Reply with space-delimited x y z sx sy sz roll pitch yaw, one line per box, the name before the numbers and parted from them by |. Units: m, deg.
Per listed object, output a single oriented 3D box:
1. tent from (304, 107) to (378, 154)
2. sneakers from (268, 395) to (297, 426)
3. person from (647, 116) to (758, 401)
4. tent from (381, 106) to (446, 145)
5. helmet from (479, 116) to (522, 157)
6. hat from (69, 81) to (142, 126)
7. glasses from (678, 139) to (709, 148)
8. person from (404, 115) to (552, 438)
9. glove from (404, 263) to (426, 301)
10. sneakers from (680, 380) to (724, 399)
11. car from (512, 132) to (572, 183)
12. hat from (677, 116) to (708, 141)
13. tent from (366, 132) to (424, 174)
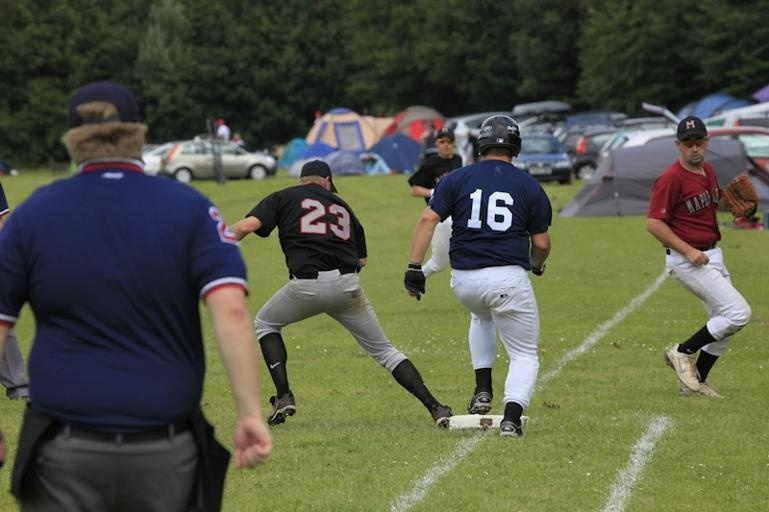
tent | -1.103 -3.703 39.843 2.704 1.015 2.655 -2 5 -14
sneakers | -0.901 1.340 11.481 0.151 0.193 0.374 5 -38 -33
person | 2.978 -0.013 12.195 0.928 2.492 0.917 -12 17 -39
tent | 1.088 -4.143 41.863 2.720 0.996 2.604 -2 9 -4
helmet | 0.988 -1.056 11.528 0.400 0.373 0.501 1 9 5
hat | -1.888 -0.981 8.791 0.510 0.319 0.664 -3 -8 -17
glasses | 2.794 -1.019 12.007 0.134 0.035 0.133 -4 26 5
person | 0.912 0.133 11.405 1.135 2.603 0.851 10 17 41
glove | 0.258 0.228 11.637 0.156 0.294 0.202 7 14 34
sneakers | 2.888 1.236 12.081 0.377 0.138 0.128 1 0 7
car | 3.703 -2.319 32.185 1.490 1.156 2.599 -1 4 -2
hat | 2.800 -1.157 12.083 0.273 0.204 0.285 1 13 12
tent | 0.445 -3.076 39.814 1.319 0.552 1.262 -7 37 -11
